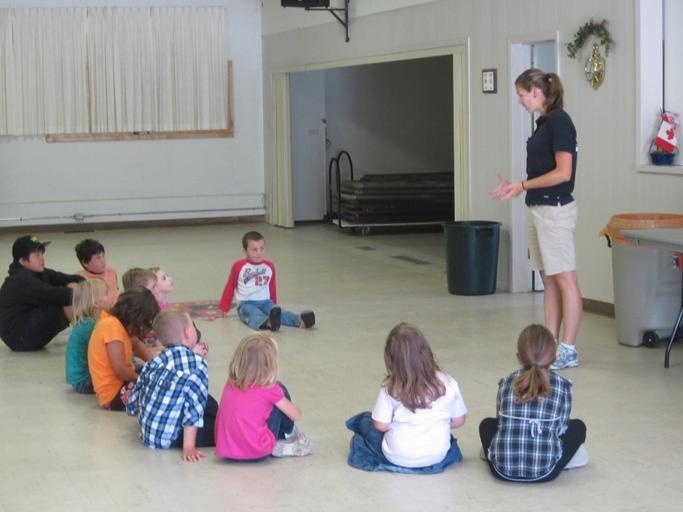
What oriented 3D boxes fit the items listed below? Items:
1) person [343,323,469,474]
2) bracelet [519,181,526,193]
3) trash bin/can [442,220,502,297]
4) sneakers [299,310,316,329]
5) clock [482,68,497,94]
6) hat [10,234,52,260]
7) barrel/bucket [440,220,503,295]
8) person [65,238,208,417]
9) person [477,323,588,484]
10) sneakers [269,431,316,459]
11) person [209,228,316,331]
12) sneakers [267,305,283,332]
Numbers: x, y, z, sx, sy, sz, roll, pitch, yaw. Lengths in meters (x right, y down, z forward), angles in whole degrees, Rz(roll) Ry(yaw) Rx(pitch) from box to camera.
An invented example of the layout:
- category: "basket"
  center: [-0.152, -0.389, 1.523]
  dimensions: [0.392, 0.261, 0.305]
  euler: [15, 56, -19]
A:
- category: "person"
  center: [0.320, 0.693, 3.148]
  dimensions: [0.663, 0.742, 0.686]
  euler: [-2, 16, -4]
- category: "bracelet"
  center: [1.264, -0.483, 4.202]
  dimensions: [0.015, 0.057, 0.058]
  euler: [2, -1, -4]
- category: "trash bin/can"
  center: [1.381, 0.062, 6.321]
  dimensions: [0.647, 0.742, 0.721]
  euler: [-2, 9, -9]
- category: "sneakers"
  center: [-0.261, 0.561, 5.365]
  dimensions: [0.117, 0.163, 0.155]
  euler: [-7, -16, 37]
- category: "clock"
  center: [1.622, -1.894, 6.584]
  dimensions: [0.039, 0.324, 0.285]
  euler: [-1, 2, -28]
- category: "hat"
  center: [-3.164, -0.079, 6.245]
  dimensions: [0.351, 0.212, 0.233]
  euler: [-30, 13, -2]
- category: "barrel/bucket"
  center: [1.395, 0.016, 6.599]
  dimensions: [0.642, 0.744, 0.720]
  euler: [-2, 8, -10]
- category: "person"
  center: [-1.438, 0.499, 4.274]
  dimensions: [1.098, 1.169, 0.840]
  euler: [-17, -11, 32]
- category: "person"
  center: [0.849, 0.656, 3.050]
  dimensions: [0.605, 0.836, 0.669]
  euler: [1, 7, 10]
- category: "sneakers"
  center: [-0.240, 0.989, 3.148]
  dimensions: [0.183, 0.133, 0.107]
  euler: [4, -12, -9]
- category: "person"
  center: [-0.680, 0.208, 5.512]
  dimensions: [0.982, 0.846, 0.483]
  euler: [8, 13, 40]
- category: "sneakers"
  center: [-0.573, 0.558, 5.285]
  dimensions: [0.105, 0.230, 0.147]
  euler: [-3, 10, -15]
